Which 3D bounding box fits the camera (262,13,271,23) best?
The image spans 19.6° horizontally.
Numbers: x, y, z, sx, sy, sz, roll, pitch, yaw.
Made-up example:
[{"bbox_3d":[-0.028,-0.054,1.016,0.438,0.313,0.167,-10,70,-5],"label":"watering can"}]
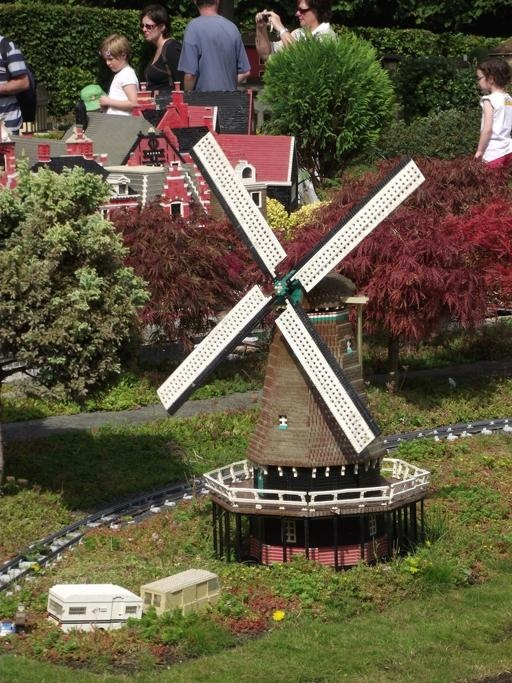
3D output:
[{"bbox_3d":[0.264,-7.754,35.682,0.147,0.254,0.148,-9,36,-13],"label":"camera"}]
